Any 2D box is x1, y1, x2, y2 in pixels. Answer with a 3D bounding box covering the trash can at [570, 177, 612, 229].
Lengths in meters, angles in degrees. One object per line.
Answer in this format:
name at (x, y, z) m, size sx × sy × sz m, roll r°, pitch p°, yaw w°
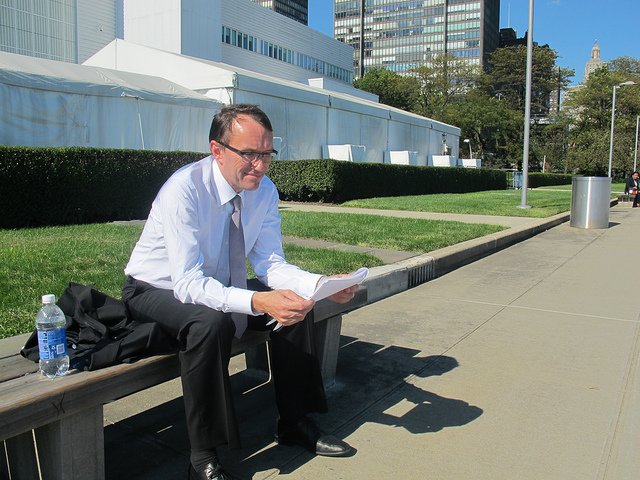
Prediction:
trash can at (7.045, -1.041, 13.707) m, size 0.980 × 1.384 × 1.039 m, roll 5°, pitch 8°, yaw 30°
